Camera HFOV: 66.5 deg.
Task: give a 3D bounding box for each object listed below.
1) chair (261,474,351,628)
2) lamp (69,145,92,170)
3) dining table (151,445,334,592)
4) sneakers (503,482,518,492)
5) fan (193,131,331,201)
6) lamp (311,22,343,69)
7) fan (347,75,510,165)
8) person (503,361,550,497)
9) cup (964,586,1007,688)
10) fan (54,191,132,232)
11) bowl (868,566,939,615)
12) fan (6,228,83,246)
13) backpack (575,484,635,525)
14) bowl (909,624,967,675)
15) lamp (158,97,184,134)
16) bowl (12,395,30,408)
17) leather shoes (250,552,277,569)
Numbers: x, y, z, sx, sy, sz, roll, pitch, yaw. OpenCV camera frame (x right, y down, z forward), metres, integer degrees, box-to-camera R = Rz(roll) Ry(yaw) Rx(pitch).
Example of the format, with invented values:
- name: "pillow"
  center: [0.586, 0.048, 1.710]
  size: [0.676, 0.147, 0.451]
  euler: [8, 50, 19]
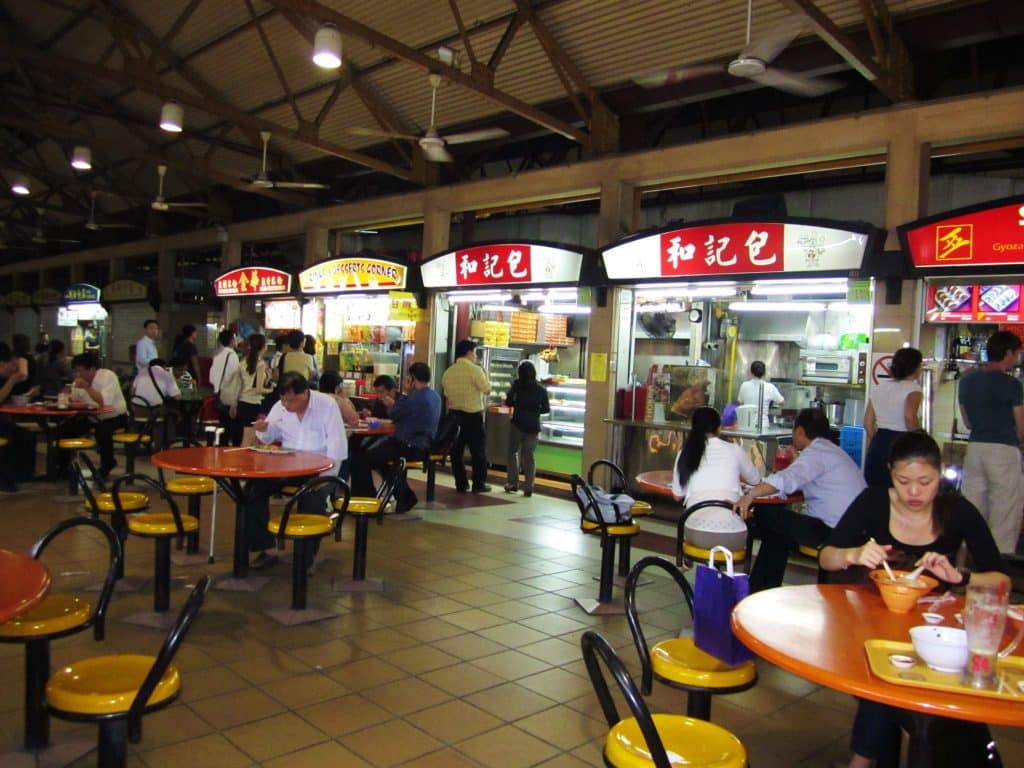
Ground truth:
- name: "chair"
  center: [-1.540, 1.146, 6.025]
  size: [0.582, 1.028, 1.201]
  euler: [0, 4, -13]
- name: "lamp"
  center: [-6.078, -3.254, 11.103]
  size: [0.208, 0.272, 0.512]
  euler: [-2, 5, -32]
- name: "dining table"
  center: [-1.848, 0.856, 5.835]
  size: [1.242, 0.751, 1.239]
  euler: [2, 2, -38]
- name: "sneakers"
  center: [0.005, 1.345, 10.108]
  size: [0.100, 0.111, 0.179]
  euler: [0, 9, -20]
- name: "fan"
  center: [-3.723, -3.557, 12.109]
  size: [1.972, 0.872, 1.887]
  euler: [0, 3, -33]
- name: "lamp"
  center: [-1.667, -3.110, 7.131]
  size: [0.218, 0.340, 0.225]
  euler: [0, 4, -5]
- name: "fan"
  center: [-1.102, -3.511, 10.211]
  size: [1.743, 0.719, 1.286]
  euler: [1, 16, -5]
- name: "person"
  center: [0.206, 0.578, 10.030]
  size: [0.506, 1.710, 0.702]
  euler: [1, 4, 0]
- name: "cup"
  center: [1.798, 0.952, 2.979]
  size: [0.131, 0.342, 0.283]
  euler: [4, 5, 34]
- name: "fan"
  center: [-9.226, -3.893, 17.369]
  size: [1.521, 0.499, 1.396]
  euler: [1, 3, -7]
- name: "bowl"
  center: [1.736, 0.919, 3.535]
  size: [0.244, 0.093, 0.224]
  euler: [0, -3, 0]
- name: "fan"
  center: [-12.016, -3.847, 20.197]
  size: [1.191, 0.181, 1.186]
  euler: [4, 6, 39]
- name: "backpack"
  center: [0.742, 0.974, 6.165]
  size: [0.423, 0.145, 0.328]
  euler: [2, 1, 42]
- name: "bowl"
  center: [1.668, 1.030, 3.043]
  size: [0.196, 0.133, 0.197]
  euler: [1, 4, 0]
- name: "lamp"
  center: [-3.937, -3.136, 9.102]
  size: [0.206, 0.324, 0.624]
  euler: [-1, 5, -25]
- name: "bowl"
  center: [-5.561, 0.202, 8.880]
  size: [0.154, 0.105, 0.155]
  euler: [0, -5, 0]
- name: "leather shoes"
  center: [-2.068, 1.496, 6.545]
  size: [0.108, 0.081, 0.226]
  euler: [1, -1, 17]
